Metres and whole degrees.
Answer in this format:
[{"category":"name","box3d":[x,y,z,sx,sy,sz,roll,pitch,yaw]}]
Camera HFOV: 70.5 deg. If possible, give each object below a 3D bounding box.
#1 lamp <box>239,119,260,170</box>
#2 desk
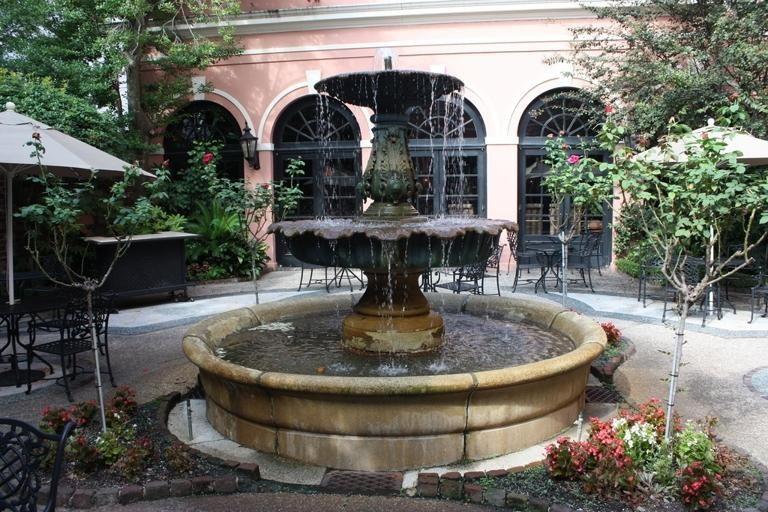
[{"category":"lamp","box3d":[-3.428,-2.765,13.666,0.433,1.174,0.485,1,8,11]},{"category":"desk","box3d":[-4.718,0.290,10.340,1.107,1.287,1.940,5,8,42]}]
